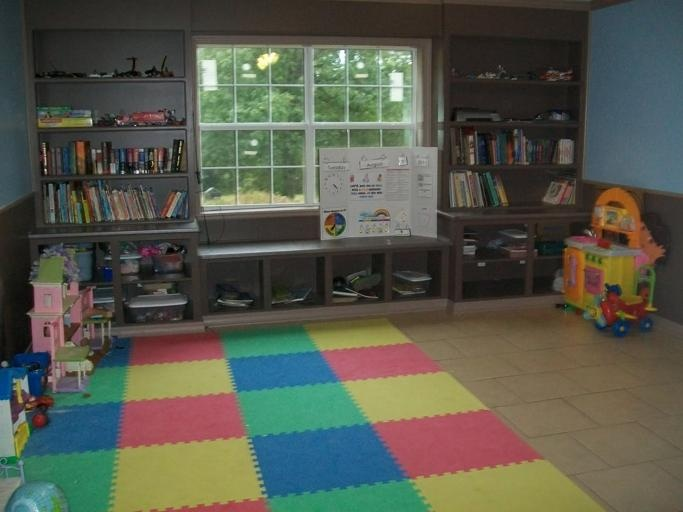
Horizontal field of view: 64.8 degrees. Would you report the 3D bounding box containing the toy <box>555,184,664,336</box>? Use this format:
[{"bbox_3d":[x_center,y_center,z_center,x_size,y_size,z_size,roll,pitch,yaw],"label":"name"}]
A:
[{"bbox_3d":[2.719,0.084,5.393,0.776,1.477,1.321,-3,9,-15],"label":"toy"}]

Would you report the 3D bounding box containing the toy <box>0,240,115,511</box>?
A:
[{"bbox_3d":[-2.002,0.827,3.761,0.312,0.708,1.333,-4,14,-20],"label":"toy"}]

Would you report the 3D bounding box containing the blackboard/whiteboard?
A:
[{"bbox_3d":[0.363,-0.685,5.695,1.000,0.733,0.285,-2,8,-13],"label":"blackboard/whiteboard"}]

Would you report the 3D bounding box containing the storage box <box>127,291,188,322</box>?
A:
[{"bbox_3d":[-1.751,0.498,5.158,0.516,0.229,0.214,-4,15,-16],"label":"storage box"}]

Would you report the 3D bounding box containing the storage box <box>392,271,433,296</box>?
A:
[{"bbox_3d":[0.723,0.272,5.865,0.243,0.110,0.351,-3,12,-16],"label":"storage box"}]

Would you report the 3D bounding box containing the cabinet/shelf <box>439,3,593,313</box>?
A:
[{"bbox_3d":[1.905,-1.130,5.896,1.806,2.970,0.906,-5,16,-18],"label":"cabinet/shelf"}]

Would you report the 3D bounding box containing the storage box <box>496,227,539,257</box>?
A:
[{"bbox_3d":[1.891,-0.153,5.855,0.302,0.275,0.330,-2,15,-7],"label":"storage box"}]
